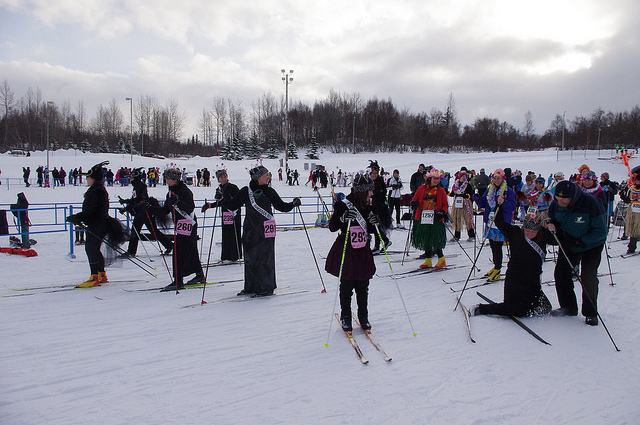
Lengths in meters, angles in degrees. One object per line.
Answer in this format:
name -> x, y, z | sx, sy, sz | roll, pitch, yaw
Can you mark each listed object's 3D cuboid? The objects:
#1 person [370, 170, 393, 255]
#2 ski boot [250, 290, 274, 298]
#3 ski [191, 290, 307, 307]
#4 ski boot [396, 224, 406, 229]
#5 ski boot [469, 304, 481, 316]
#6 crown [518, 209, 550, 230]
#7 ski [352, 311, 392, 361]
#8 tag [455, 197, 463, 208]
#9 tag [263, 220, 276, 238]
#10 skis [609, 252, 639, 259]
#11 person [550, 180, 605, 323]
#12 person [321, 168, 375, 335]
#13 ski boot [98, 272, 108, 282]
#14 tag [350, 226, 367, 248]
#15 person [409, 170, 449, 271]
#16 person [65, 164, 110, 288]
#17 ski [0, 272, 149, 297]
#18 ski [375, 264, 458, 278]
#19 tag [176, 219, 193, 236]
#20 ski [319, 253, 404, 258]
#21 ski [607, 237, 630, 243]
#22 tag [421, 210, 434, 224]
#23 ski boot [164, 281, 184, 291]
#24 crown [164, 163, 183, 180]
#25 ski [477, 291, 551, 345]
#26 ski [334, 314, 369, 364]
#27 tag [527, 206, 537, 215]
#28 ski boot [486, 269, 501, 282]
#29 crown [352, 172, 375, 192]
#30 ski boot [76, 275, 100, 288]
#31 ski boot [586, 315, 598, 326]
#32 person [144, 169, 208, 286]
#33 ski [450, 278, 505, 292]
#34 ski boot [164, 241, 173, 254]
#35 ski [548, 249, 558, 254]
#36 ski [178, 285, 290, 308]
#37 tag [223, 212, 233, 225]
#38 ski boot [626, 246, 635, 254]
person -> 1.433, -0.152, 12.521 | 0.709, 2.159, 0.805 | -5, 1, 5
ski boot -> -1.073, 1.499, 9.529 | 0.411, 0.176, 0.131 | 4, -5, -8
ski -> -1.299, 1.593, 9.411 | 2.309, 0.273, 0.186 | -2, 0, -21
ski boot -> 2.595, 0.442, 16.370 | 0.098, 0.205, 0.290 | -10, -1, -40
ski boot -> 2.635, 1.661, 8.680 | 0.121, 0.170, 0.386 | -3, -9, 19
crown -> 3.542, 0.130, 8.529 | 0.257, 0.311, 0.432 | 6, 5, 41
ski -> 0.783, 1.862, 8.250 | 0.168, 0.183, 1.575 | 2, 18, -15
tag -> 3.799, -0.273, 13.983 | 0.203, 0.307, 0.205 | 2, 9, 12
tag -> -0.946, 0.298, 9.493 | 0.302, 0.348, 0.031 | -1, 2, -22
skis -> 7.050, 1.000, 11.835 | 0.669, 0.076, 0.090 | -2, 8, -18
person -> 4.220, 0.614, 8.455 | 0.809, 2.269, 0.420 | 4, 10, 26
person -> 0.513, 0.595, 8.566 | 0.789, 2.576, 1.361 | 0, 9, 5
ski boot -> -4.287, 1.271, 10.077 | 0.164, 0.168, 0.133 | -12, -10, 42
tag -> 0.585, 0.388, 8.008 | 0.317, 0.435, 0.060 | 0, -9, -16
person -> 2.343, 0.162, 10.994 | 0.763, 2.126, 0.447 | 1, 9, 11
person -> -4.495, 0.247, 10.073 | 0.560, 2.373, 0.827 | 1, 9, 7
ski -> -4.851, 1.421, 9.992 | 1.559, 0.173, 0.221 | -4, 24, -23
ski -> 2.076, 1.247, 10.899 | 1.589, 0.130, 0.281 | -7, -3, -32
tag -> -2.626, 0.287, 9.846 | 0.275, 0.299, 0.029 | -2, -1, -14
ski -> 1.023, 1.026, 12.470 | 2.041, 0.063, 0.259 | -1, 9, -2
ski -> 7.976, 0.763, 13.777 | 0.258, 0.070, 0.492 | 9, 13, 44
tag -> 2.277, 0.097, 10.828 | 0.250, 0.260, 0.270 | 3, -15, 11
ski boot -> -2.806, 1.416, 9.854 | 0.347, 0.162, 0.137 | 1, -7, -8
crown -> -2.880, -0.758, 10.046 | 0.335, 0.206, 0.351 | -3, 10, -19
ski -> 3.161, 1.754, 8.532 | 0.087, 0.240, 1.697 | -32, 26, -5
ski -> 0.509, 1.988, 7.980 | 0.151, 0.159, 1.431 | -3, 17, -9
tag -> 4.248, -0.050, 10.231 | 0.198, 0.119, 0.268 | 0, 8, 15
ski boot -> 3.398, 1.257, 10.113 | 0.358, 0.265, 0.131 | -3, 2, -15
crown -> 0.683, -0.472, 8.100 | 0.211, 0.236, 0.317 | 2, 11, 9
ski boot -> -4.522, 1.339, 9.962 | 0.405, 0.264, 0.162 | 2, -1, -15
ski boot -> 4.419, 1.755, 8.315 | 0.143, 0.157, 0.147 | 1, -7, -6
person -> -2.742, 0.305, 10.016 | 0.868, 2.284, 0.976 | -6, 11, -33
ski -> 3.092, 1.395, 9.954 | 1.241, 0.111, 0.239 | -4, 10, -23
ski boot -> -3.636, 0.850, 12.280 | 0.186, 0.357, 0.450 | -4, 10, -20
ski -> 5.564, 0.925, 12.198 | 0.210, 0.068, 0.214 | 1, 6, 19
ski -> -1.589, 1.569, 9.469 | 1.836, 0.292, 0.203 | -3, 10, -22
tag -> -2.056, 0.110, 11.409 | 0.253, 0.319, 0.014 | 0, -1, 5
ski boot -> 7.219, 0.869, 11.893 | 0.145, 0.170, 0.202 | 7, 11, 38
